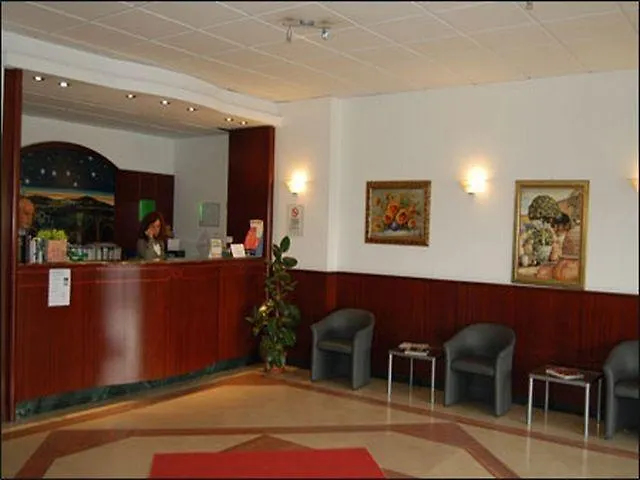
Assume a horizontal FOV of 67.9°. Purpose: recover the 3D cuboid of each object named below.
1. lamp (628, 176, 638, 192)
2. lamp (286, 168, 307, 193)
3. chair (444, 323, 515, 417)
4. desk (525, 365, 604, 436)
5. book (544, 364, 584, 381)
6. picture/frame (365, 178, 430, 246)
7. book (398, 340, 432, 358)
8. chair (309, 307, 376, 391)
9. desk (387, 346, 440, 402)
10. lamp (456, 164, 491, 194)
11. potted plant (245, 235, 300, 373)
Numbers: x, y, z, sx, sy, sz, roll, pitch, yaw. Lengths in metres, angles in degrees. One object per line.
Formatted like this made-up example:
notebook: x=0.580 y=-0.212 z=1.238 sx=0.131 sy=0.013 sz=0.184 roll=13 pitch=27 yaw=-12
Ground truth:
lamp: x=3.798 y=-0.683 z=5.775 sx=0.083 sy=0.175 sz=0.135 roll=3 pitch=3 yaw=35
lamp: x=-0.400 y=-0.988 z=7.960 sx=0.378 sy=0.423 sz=0.135 roll=2 pitch=3 yaw=27
chair: x=2.142 y=1.681 z=6.339 sx=0.779 sy=1.055 sz=0.753 roll=3 pitch=3 yaw=33
desk: x=2.968 y=1.775 z=5.941 sx=0.918 sy=0.864 sz=0.719 roll=-2 pitch=-5 yaw=41
book: x=2.961 y=1.607 z=5.761 sx=0.426 sy=0.057 sz=0.428 roll=2 pitch=3 yaw=25
picture/frame: x=1.232 y=-0.442 z=7.305 sx=1.024 sy=1.038 sz=0.074 roll=3 pitch=1 yaw=32
book: x=1.338 y=1.523 z=6.718 sx=0.441 sy=0.074 sz=0.530 roll=2 pitch=3 yaw=14
chair: x=0.375 y=1.616 z=7.460 sx=1.091 sy=1.236 sz=1.029 roll=0 pitch=-3 yaw=38
desk: x=1.354 y=1.802 z=6.849 sx=0.733 sy=0.716 sz=0.733 roll=0 pitch=-2 yaw=37
lamp: x=2.219 y=-0.873 z=6.736 sx=0.414 sy=0.391 sz=0.099 roll=1 pitch=0 yaw=-21
potted plant: x=-0.751 y=1.015 z=7.857 sx=0.854 sy=2.191 sz=0.815 roll=1 pitch=2 yaw=-13
